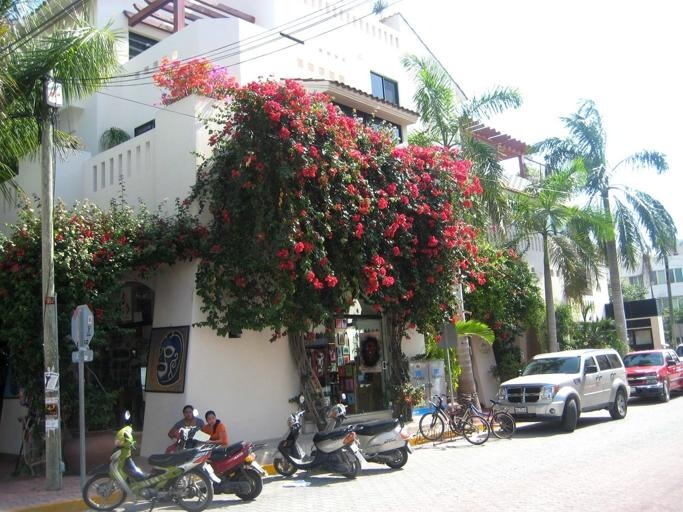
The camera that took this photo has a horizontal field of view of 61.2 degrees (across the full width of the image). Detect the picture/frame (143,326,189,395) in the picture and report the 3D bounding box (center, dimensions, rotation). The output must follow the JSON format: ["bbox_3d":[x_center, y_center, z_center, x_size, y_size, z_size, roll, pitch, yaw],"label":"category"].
[{"bbox_3d":[-4.503,2.730,15.084,0.123,1.964,1.757,9,-12,-38],"label":"picture/frame"}]

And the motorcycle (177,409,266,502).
[{"bbox_3d":[-2.460,4.035,11.295,1.835,1.434,0.922,-6,-5,12],"label":"motorcycle"}]

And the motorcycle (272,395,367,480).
[{"bbox_3d":[-0.352,4.158,12.819,2.044,1.890,1.061,-2,-12,19],"label":"motorcycle"}]

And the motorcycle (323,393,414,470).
[{"bbox_3d":[0.627,4.077,13.148,1.975,1.526,1.053,-2,-9,10],"label":"motorcycle"}]

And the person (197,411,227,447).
[{"bbox_3d":[-2.841,3.889,12.777,0.474,0.871,0.594,-11,-27,-8],"label":"person"}]

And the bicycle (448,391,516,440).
[{"bbox_3d":[3.892,4.474,16.030,1.730,1.177,1.487,7,-14,-41],"label":"bicycle"}]

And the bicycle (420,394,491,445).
[{"bbox_3d":[3.190,4.627,16.267,2.065,1.459,1.124,-3,-22,16],"label":"bicycle"}]
